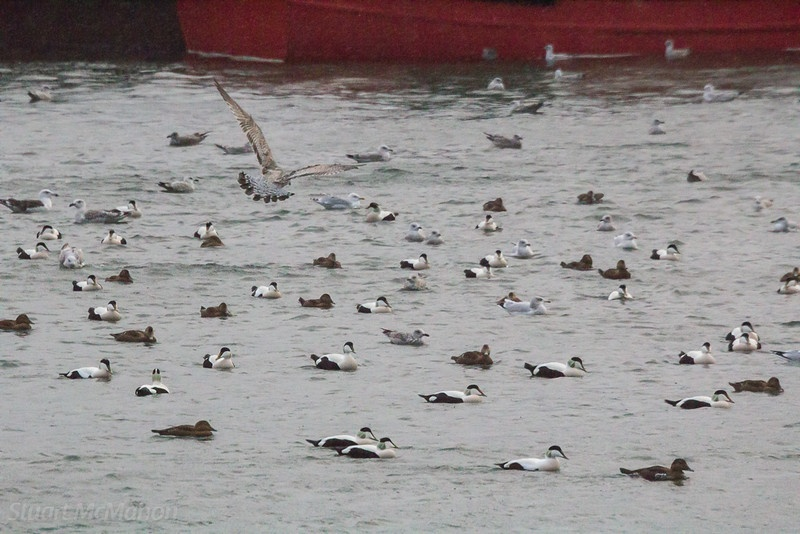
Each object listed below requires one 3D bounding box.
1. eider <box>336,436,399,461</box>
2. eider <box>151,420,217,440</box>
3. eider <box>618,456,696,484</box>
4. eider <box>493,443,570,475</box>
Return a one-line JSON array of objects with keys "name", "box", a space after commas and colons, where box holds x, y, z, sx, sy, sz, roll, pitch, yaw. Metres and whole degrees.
[{"name": "eider", "box": [-0.910, 4.644, 42.732, 1.522, 0.524, 0.564, -1, -4, 1]}, {"name": "eider", "box": [-5.545, 4.260, 43.384, 1.966, 0.658, 0.556, 2, -2, -1]}, {"name": "eider", "box": [6.525, 5.087, 42.105, 1.931, 0.686, 0.629, 4, -11, 3]}, {"name": "eider", "box": [3.432, 4.891, 42.329, 2.359, 0.836, 0.600, 1, -10, 0]}]
